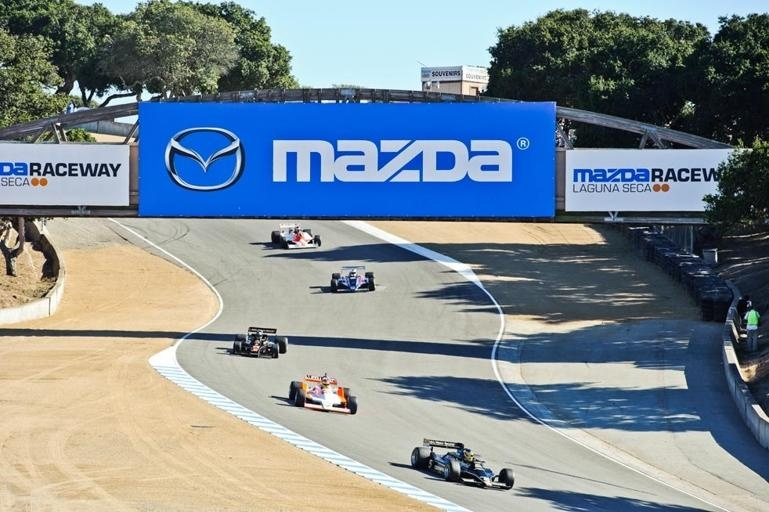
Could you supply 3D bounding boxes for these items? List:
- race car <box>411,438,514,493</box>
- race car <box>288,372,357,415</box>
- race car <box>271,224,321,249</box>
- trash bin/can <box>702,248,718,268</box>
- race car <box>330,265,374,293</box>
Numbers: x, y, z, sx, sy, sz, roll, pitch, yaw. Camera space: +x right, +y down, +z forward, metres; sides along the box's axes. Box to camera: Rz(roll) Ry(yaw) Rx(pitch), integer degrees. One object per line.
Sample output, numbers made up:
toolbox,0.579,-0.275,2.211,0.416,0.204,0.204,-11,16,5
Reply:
race car,4.667,12.623,101.293,5.217,2.889,4.290,-1,2,-2
race car,-3.609,8.708,105.918,3.824,1.929,5.671,8,2,-9
race car,-6.914,-1.325,136.184,3.933,1.736,2.212,2,7,12
trash bin/can,25.141,0.394,131.866,1.373,2.208,1.266,1,7,9
race car,-2.205,1.815,125.542,3.074,1.806,3.663,1,7,2
